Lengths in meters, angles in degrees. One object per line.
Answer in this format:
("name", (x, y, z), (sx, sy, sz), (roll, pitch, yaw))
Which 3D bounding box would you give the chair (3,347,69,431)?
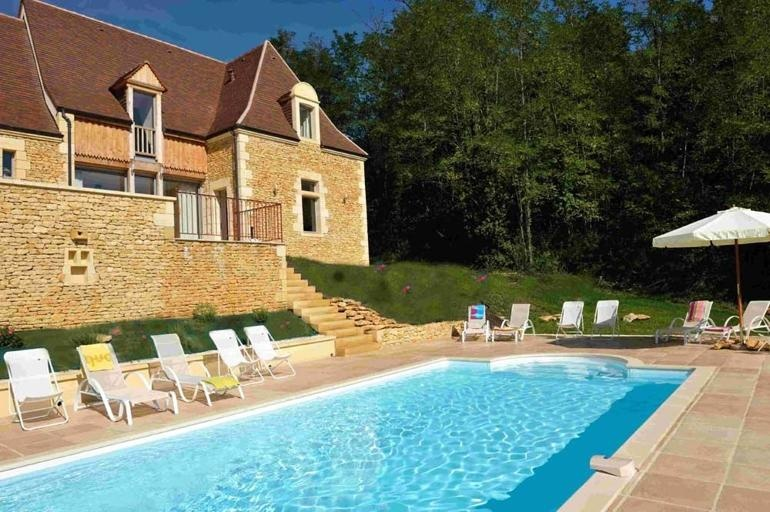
("chair", (-8.243, 3.047, 12.969), (0.984, 1.705, 1.565), (-10, 14, -37))

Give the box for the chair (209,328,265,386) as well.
("chair", (-4.537, 2.867, 15.935), (1.864, 1.634, 1.247), (5, 2, 39))

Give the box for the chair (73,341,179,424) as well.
("chair", (-5.962, 3.059, 13.316), (2.802, 1.785, 1.546), (1, 1, 37))
